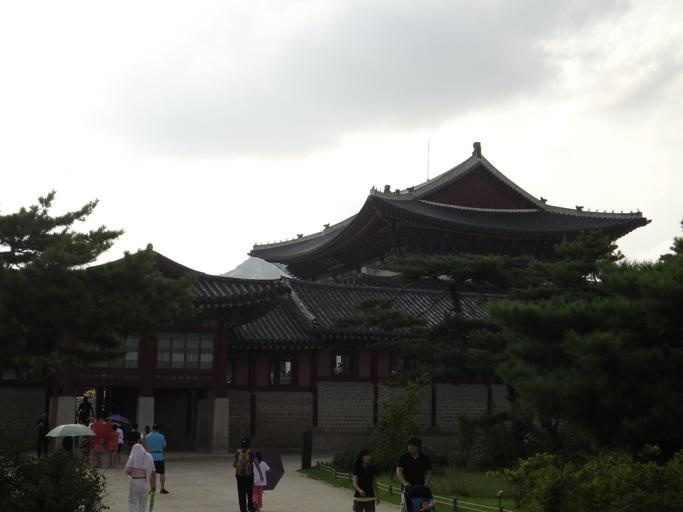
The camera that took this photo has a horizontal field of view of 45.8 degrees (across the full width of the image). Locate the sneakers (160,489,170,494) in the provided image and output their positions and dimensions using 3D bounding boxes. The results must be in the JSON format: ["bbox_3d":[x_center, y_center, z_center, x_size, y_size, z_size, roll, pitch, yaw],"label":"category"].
[{"bbox_3d":[-4.813,6.399,21.998,0.222,0.140,0.117,1,-5,1],"label":"sneakers"}]

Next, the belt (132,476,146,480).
[{"bbox_3d":[-4.323,4.741,17.258,0.265,0.056,0.037,3,-13,-12],"label":"belt"}]

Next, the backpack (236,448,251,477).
[{"bbox_3d":[-2.351,4.919,19.311,0.407,0.646,0.393,0,-13,2],"label":"backpack"}]
